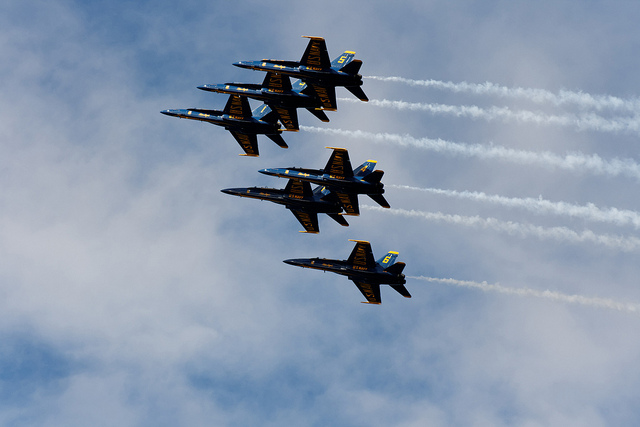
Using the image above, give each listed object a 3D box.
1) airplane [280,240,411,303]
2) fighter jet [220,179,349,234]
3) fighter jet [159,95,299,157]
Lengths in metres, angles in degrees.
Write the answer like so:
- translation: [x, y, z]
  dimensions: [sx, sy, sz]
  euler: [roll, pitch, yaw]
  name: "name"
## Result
- translation: [2.660, 5.108, 120.847]
  dimensions: [13.579, 8.592, 3.352]
  euler: [8, -49, -16]
  name: "airplane"
- translation: [-3.768, -2.147, 125.073]
  dimensions: [13.033, 3.155, 9.649]
  euler: [9, -33, 13]
  name: "fighter jet"
- translation: [-10.546, -10.901, 126.313]
  dimensions: [14.222, 3.502, 10.320]
  euler: [10, -18, 8]
  name: "fighter jet"
